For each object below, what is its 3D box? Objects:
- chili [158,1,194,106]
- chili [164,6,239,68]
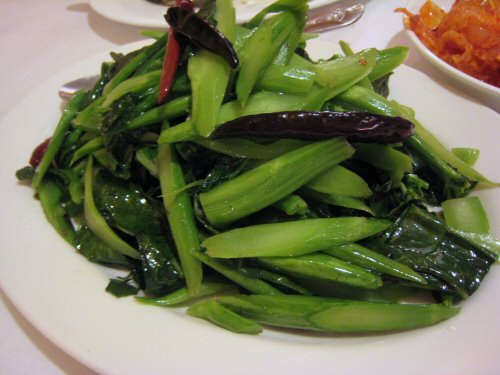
[{"bbox_3d":[-0.341,-0.561,2.133,0.100,0.508,0.081,14,-1,-6],"label":"chili"},{"bbox_3d":[-0.208,-0.646,2.059,0.360,0.231,0.104,22,42,37],"label":"chili"}]
